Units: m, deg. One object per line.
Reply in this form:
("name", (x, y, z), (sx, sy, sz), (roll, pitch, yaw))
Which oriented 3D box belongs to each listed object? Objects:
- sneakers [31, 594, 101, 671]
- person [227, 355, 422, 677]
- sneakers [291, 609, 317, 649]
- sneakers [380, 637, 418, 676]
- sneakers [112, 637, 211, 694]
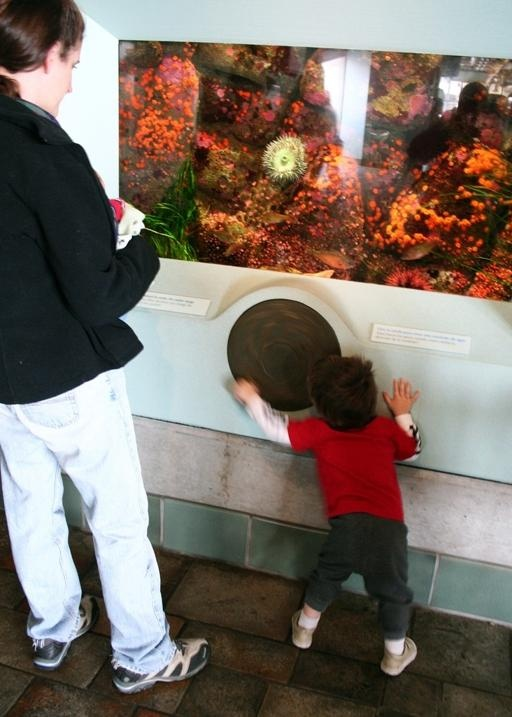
("sneakers", (-0.502, 0.735, 1.590), (0.074, 0.090, 0.216), (20, 42, 16))
("person", (0.226, 0.403, 1.708), (0.598, 0.805, 0.424), (8, 14, 25))
("sneakers", (0.143, 0.748, 1.613), (0.060, 0.113, 0.050), (1, 7, 4))
("sneakers", (0.403, 0.792, 1.591), (0.058, 0.059, 0.135), (3, 24, 36))
("sneakers", (-0.234, 0.755, 1.525), (0.270, 0.117, 0.099), (-8, 11, -36))
